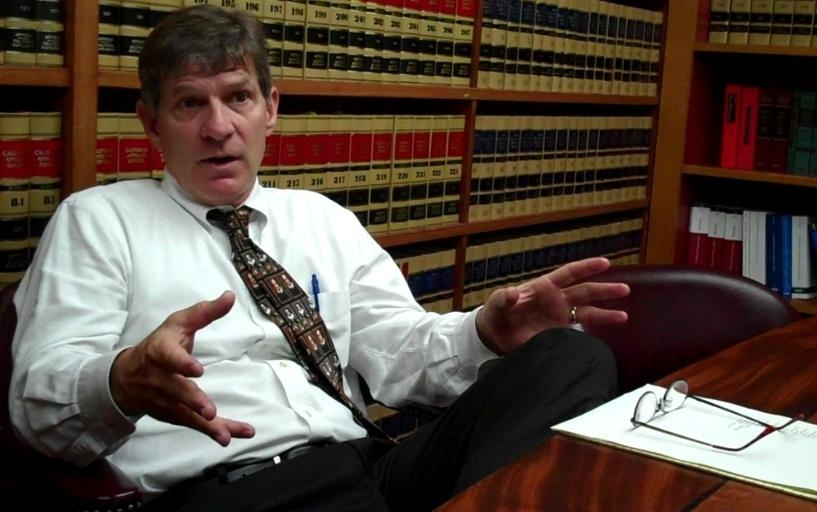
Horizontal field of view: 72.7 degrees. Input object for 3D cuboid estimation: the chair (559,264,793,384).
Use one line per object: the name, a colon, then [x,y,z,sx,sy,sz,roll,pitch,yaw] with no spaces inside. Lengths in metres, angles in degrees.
chair: [0.878,0.099,1.709,0.443,0.499,0.430,2,9,36]
